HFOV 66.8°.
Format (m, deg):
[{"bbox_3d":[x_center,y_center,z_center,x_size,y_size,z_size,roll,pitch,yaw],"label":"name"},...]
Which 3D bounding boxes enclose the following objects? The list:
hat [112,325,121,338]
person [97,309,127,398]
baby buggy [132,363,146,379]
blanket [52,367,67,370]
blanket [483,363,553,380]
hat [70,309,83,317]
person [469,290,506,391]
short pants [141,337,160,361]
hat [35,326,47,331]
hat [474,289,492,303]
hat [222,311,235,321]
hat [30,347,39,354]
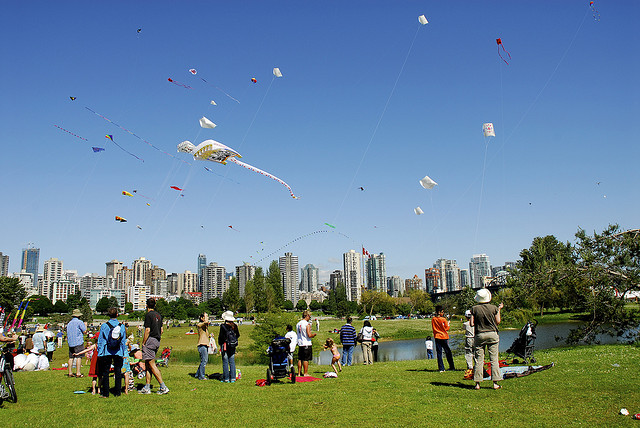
[{"bbox_3d":[-7.317,4.212,17.420,0.270,0.416,0.231,9,-17,-39],"label":"hat"},{"bbox_3d":[-7.672,5.041,17.867,1.288,3.062,1.130,-5,-7,44],"label":"person"},{"bbox_3d":[-7.806,6.720,20.862,0.477,0.686,1.307,3,-13,-19],"label":"baby buggy"},{"bbox_3d":[-13.297,7.869,24.771,0.689,0.058,1.093,6,-15,-32],"label":"blanket"},{"bbox_3d":[7.839,6.308,19.406,3.189,0.237,1.041,2,-5,-26],"label":"blanket"},{"bbox_3d":[-10.277,4.165,20.470,0.420,0.221,0.413,-8,-20,44],"label":"hat"},{"bbox_3d":[6.031,4.491,17.406,0.871,3.481,1.045,1,-13,-12],"label":"person"},{"bbox_3d":[-6.343,4.994,18.122,0.555,0.814,0.370,4,-14,-23],"label":"short pants"},{"bbox_3d":[-14.792,6.071,25.642,0.401,0.125,0.389,-1,-8,2],"label":"hat"},{"bbox_3d":[5.892,2.937,17.554,0.518,0.505,0.622,-6,-13,18],"label":"hat"},{"bbox_3d":[-3.784,4.180,20.001,0.484,0.364,0.436,1,-13,-11],"label":"hat"},{"bbox_3d":[-14.552,6.941,24.748,0.357,0.317,0.795,6,-15,-31],"label":"hat"}]
